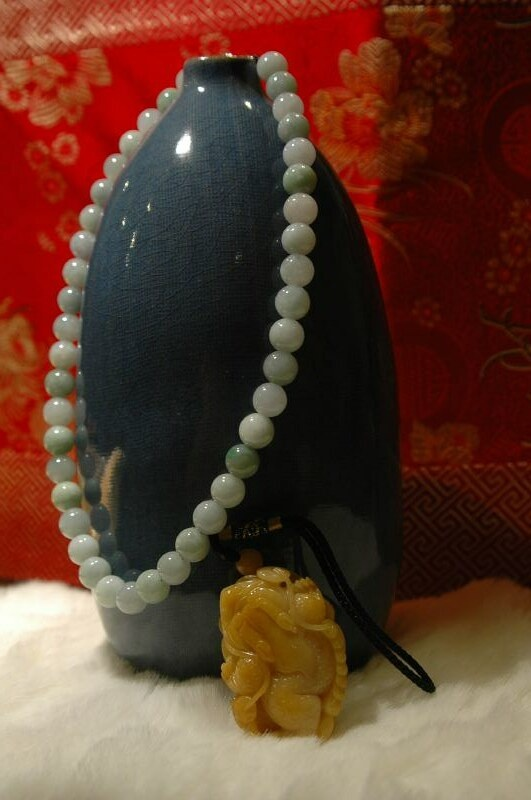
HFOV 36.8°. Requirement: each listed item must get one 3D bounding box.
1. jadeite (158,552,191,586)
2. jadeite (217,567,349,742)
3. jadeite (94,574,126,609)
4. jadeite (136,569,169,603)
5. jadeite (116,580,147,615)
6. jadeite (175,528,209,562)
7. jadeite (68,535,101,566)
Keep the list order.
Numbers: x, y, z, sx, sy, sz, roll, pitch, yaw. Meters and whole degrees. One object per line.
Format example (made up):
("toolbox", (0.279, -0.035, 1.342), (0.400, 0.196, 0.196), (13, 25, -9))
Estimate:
("jadeite", (-0.070, 0.129, 0.609), (0.027, 0.027, 0.025), (1, 7, 19))
("jadeite", (0.012, 0.182, 0.576), (0.086, 0.085, 0.098), (-4, 35, 8))
("jadeite", (-0.127, 0.155, 0.645), (0.029, 0.028, 0.026), (3, 15, 1))
("jadeite", (-0.087, 0.145, 0.617), (0.027, 0.027, 0.025), (1, 6, 11))
("jadeite", (-0.106, 0.155, 0.630), (0.027, 0.026, 0.025), (-2, 10, 9))
("jadeite", (-0.055, 0.110, 0.602), (0.026, 0.028, 0.027), (-25, -34, 33))
("jadeite", (-0.152, 0.124, 0.665), (0.027, 0.027, 0.025), (-16, 9, -3))
